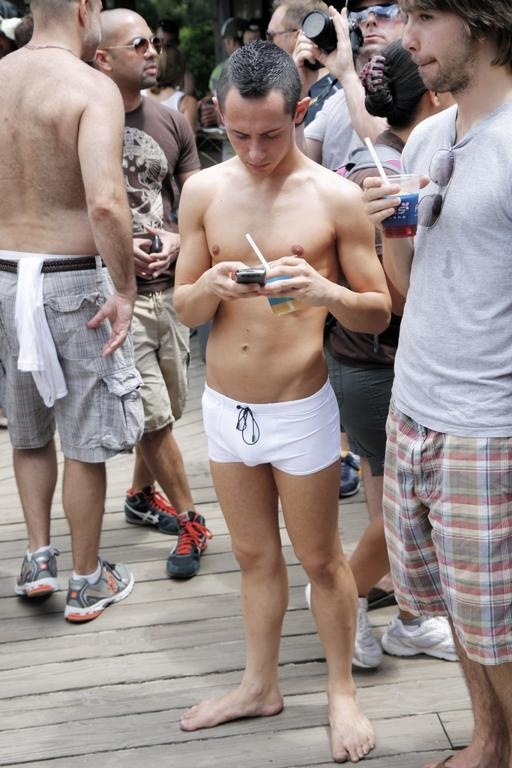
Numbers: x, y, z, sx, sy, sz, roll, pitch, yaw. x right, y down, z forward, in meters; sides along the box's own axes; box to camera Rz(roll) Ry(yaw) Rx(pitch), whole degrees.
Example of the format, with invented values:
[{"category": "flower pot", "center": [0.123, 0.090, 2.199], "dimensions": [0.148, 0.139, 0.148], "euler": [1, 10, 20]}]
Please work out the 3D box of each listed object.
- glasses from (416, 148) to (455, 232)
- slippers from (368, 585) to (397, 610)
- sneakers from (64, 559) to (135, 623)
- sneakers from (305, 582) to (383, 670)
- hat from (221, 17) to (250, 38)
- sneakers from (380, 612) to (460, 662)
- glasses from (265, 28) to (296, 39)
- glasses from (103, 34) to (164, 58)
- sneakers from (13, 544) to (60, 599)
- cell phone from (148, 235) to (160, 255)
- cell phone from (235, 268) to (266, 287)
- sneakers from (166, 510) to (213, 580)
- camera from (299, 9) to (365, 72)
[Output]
[{"category": "glasses", "center": [0.359, -0.386, 1.558], "dimensions": [0.065, 0.155, 0.072], "euler": [11, 30, 24]}, {"category": "slippers", "center": [0.435, 0.744, 2.688], "dimensions": [0.086, 0.028, 0.081], "euler": [-1, -1, 2]}, {"category": "sneakers", "center": [-0.560, 0.730, 2.798], "dimensions": [0.113, 0.135, 0.304], "euler": [3, 15, 24]}, {"category": "sneakers", "center": [0.261, 0.699, 2.460], "dimensions": [0.145, 0.182, 0.417], "euler": [-3, 32, -1]}, {"category": "hat", "center": [-0.230, -3.654, 8.059], "dimensions": [0.256, 0.282, 0.307], "euler": [0, 5, -6]}, {"category": "sneakers", "center": [0.502, 0.788, 2.486], "dimensions": [0.363, 0.149, 0.116], "euler": [-1, 18, 10]}, {"category": "glasses", "center": [0.110, -1.617, 3.596], "dimensions": [0.116, 0.033, 0.104], "euler": [-2, 38, 7]}, {"category": "glasses", "center": [-0.420, -1.235, 2.837], "dimensions": [0.104, 0.036, 0.125], "euler": [-18, 22, -41]}, {"category": "sneakers", "center": [-0.769, 0.667, 2.721], "dimensions": [0.106, 0.119, 0.257], "euler": [-2, -11, -22]}, {"category": "cell phone", "center": [-0.389, -0.534, 2.992], "dimensions": [0.020, 0.065, 0.050], "euler": [5, -5, -25]}, {"category": "cell phone", "center": [-0.012, -0.229, 1.680], "dimensions": [0.069, 0.038, 0.039], "euler": [0, 26, 3]}, {"category": "sneakers", "center": [-0.256, 0.633, 3.044], "dimensions": [0.108, 0.112, 0.262], "euler": [-3, 13, 7]}, {"category": "camera", "center": [0.289, -1.305, 2.893], "dimensions": [0.209, 0.113, 0.246], "euler": [7, 9, 14]}]
